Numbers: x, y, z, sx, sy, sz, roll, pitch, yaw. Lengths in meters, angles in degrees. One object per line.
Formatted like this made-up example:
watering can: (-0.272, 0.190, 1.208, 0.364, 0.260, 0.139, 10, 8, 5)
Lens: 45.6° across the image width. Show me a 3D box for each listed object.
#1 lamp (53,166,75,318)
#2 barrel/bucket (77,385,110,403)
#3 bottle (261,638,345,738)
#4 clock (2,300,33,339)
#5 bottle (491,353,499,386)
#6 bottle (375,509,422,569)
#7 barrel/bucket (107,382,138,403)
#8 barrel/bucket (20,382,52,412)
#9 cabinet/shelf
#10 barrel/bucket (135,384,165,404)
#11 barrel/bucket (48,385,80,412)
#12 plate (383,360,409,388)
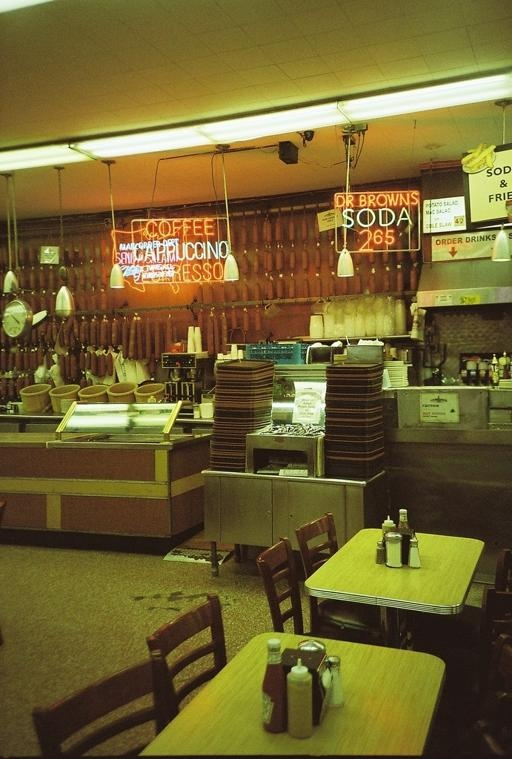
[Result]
lamp: (-2.224, -1.566, 7.012, 0.234, 1.743, 0.229, -4, 5, -32)
barrel/bucket: (-2.254, 0.212, 8.441, 0.385, 0.230, 0.505, -1, 1, -17)
bottle: (0.121, 0.706, 1.476, 0.151, 0.252, 0.236, 0, 1, 12)
clock: (-2.927, -0.749, 7.481, 0.458, 0.506, 0.149, -1, 1, 36)
bottle: (2.642, -0.101, 6.728, 0.076, 0.235, 0.270, -1, 1, 20)
bottle: (0.629, 0.685, 2.636, 0.221, 0.249, 0.184, -2, 1, 18)
barrel/bucket: (-1.808, 0.186, 8.238, 0.385, 0.260, 0.461, -1, 1, -14)
barrel/bucket: (-3.226, 0.297, 8.901, 0.403, 0.318, 0.419, 0, 8, 0)
cabinet/shelf: (0.273, 1.096, 4.693, 1.350, 0.873, 0.533, 0, 8, 28)
barrel/bucket: (-1.420, 0.193, 8.210, 0.302, 0.225, 0.316, -1, 11, 0)
barrel/bucket: (-2.728, 0.271, 8.619, 0.467, 0.352, 0.481, 1, 15, 0)
plate: (1.106, -0.032, 4.831, 0.212, 0.150, 0.214, -4, 6, -15)
